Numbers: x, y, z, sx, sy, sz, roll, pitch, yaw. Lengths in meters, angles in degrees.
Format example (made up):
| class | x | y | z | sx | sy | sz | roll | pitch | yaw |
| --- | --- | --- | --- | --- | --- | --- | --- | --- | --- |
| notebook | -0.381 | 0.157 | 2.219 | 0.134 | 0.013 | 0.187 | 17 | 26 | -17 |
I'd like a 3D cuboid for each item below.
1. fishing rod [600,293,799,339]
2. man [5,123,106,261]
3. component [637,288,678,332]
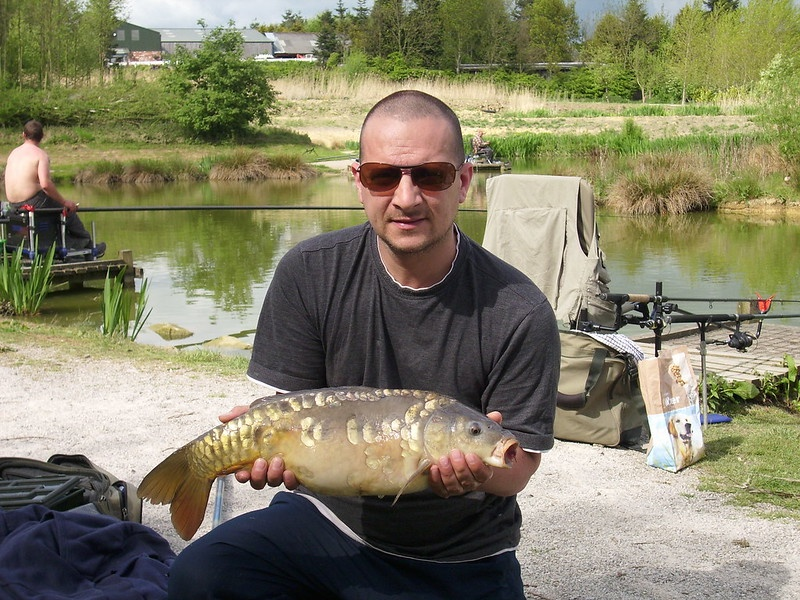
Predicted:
| class | x | y | z | sx | sy | sz | roll | pitch | yaw |
| --- | --- | --- | --- | --- | --- | --- | --- | --- | --- |
| fishing rod | 3.209 | 0.193 | 9.692 | 1.951 | 0.352 | 0.466 | -3 | 3 | -30 |
| man | -5.397 | -1.653 | 13.758 | 0.965 | 2.024 | 1.438 | 3 | 13 | 6 |
| component | 2.213 | 0.070 | 7.878 | 0.290 | 0.439 | 0.501 | 5 | 13 | 14 |
